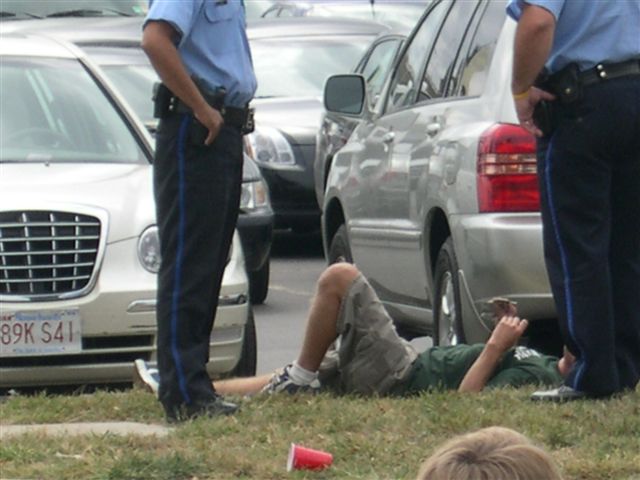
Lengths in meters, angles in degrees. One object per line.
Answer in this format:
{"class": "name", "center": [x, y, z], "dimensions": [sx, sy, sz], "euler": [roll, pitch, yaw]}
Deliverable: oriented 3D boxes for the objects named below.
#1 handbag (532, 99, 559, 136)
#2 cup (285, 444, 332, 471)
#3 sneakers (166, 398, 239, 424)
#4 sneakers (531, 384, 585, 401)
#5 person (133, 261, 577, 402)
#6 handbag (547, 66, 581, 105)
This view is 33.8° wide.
{"class": "handbag", "center": [1.063, -0.577, 4.958], "dimensions": [0.116, 0.150, 0.149], "euler": [-9, 3, -17]}
{"class": "cup", "center": [-0.042, 0.939, 4.468], "dimensions": [0.174, 0.122, 0.121], "euler": [6, -37, 0]}
{"class": "sneakers", "center": [-0.572, 0.811, 5.123], "dimensions": [0.373, 0.136, 0.129], "euler": [-8, -1, -11]}
{"class": "sneakers", "center": [1.148, 0.739, 5.069], "dimensions": [0.243, 0.084, 0.091], "euler": [0, -10, 7]}
{"class": "person", "center": [0.260, 0.465, 5.780], "dimensions": [2.105, 0.776, 0.865], "euler": [3, -14, 7]}
{"class": "handbag", "center": [1.151, -0.727, 4.919], "dimensions": [0.062, 0.157, 0.160], "euler": [13, -47, -33]}
